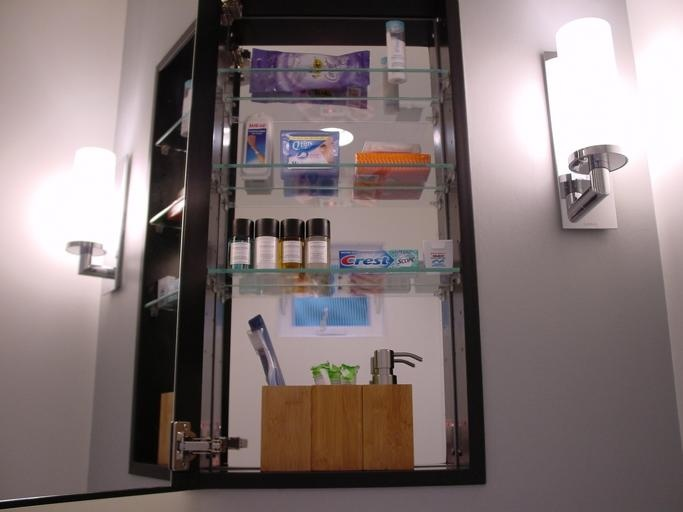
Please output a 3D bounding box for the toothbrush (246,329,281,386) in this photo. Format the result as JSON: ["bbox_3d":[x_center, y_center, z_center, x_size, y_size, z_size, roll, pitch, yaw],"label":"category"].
[{"bbox_3d":[-0.204,0.266,1.569,0.089,0.140,0.051,0,-4,-7],"label":"toothbrush"}]

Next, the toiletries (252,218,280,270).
[{"bbox_3d":[-0.195,-0.031,1.537,0.067,0.134,0.058,0,-4,-6],"label":"toiletries"}]

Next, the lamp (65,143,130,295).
[{"bbox_3d":[-0.548,-0.085,1.342,0.125,0.303,0.131,-1,-4,10],"label":"lamp"}]

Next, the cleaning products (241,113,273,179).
[{"bbox_3d":[-0.235,-0.305,1.651,0.074,0.176,0.054,0,-7,-17],"label":"cleaning products"}]

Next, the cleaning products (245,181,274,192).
[{"bbox_3d":[-0.234,-0.196,1.680,0.041,0.019,0.042,1,-9,-5],"label":"cleaning products"}]

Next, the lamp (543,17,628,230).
[{"bbox_3d":[0.610,-0.347,1.556,0.197,0.572,0.211,0,-2,11],"label":"lamp"}]

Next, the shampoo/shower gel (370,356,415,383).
[{"bbox_3d":[0.137,0.297,1.566,0.122,0.095,0.064,1,-8,-1],"label":"shampoo/shower gel"}]

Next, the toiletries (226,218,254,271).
[{"bbox_3d":[-0.257,-0.032,1.548,0.069,0.130,0.058,2,-5,-27],"label":"toiletries"}]

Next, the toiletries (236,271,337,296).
[{"bbox_3d":[-0.151,0.072,1.588,0.281,0.067,0.194,1,-4,-11],"label":"toiletries"}]

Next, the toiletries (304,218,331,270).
[{"bbox_3d":[-0.064,-0.032,1.541,0.061,0.130,0.041,0,-4,-7],"label":"toiletries"}]

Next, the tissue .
[{"bbox_3d":[0.138,-0.221,1.623,0.174,0.132,0.160,-1,-12,2],"label":"tissue "}]
